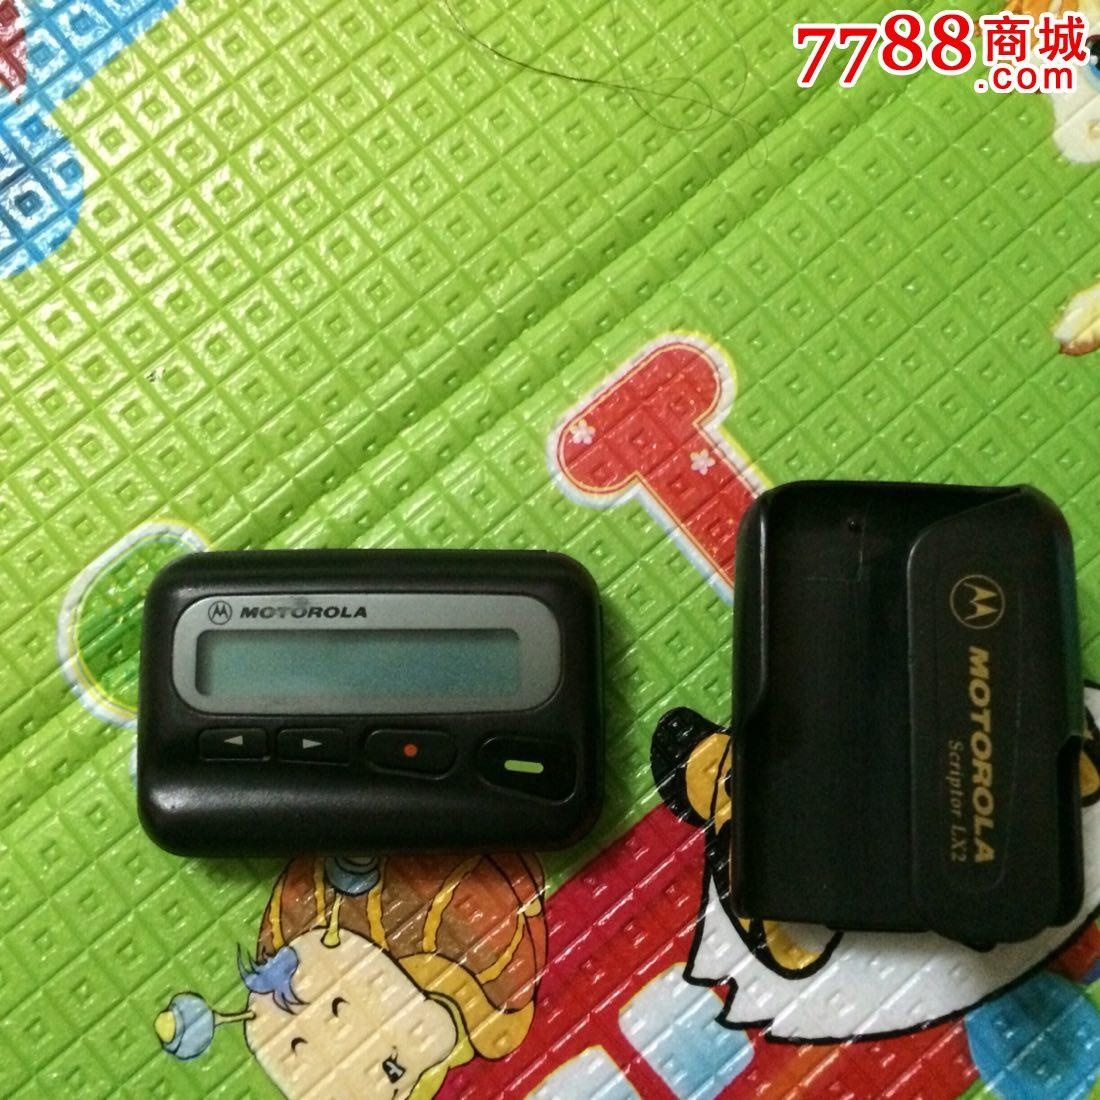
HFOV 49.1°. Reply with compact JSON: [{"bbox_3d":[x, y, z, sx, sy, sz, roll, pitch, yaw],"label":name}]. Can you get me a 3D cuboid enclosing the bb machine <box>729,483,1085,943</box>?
[{"bbox_3d":[0.272,0.124,0.911,0.297,0.123,0.433,1,84,6],"label":"bb machine"}]
